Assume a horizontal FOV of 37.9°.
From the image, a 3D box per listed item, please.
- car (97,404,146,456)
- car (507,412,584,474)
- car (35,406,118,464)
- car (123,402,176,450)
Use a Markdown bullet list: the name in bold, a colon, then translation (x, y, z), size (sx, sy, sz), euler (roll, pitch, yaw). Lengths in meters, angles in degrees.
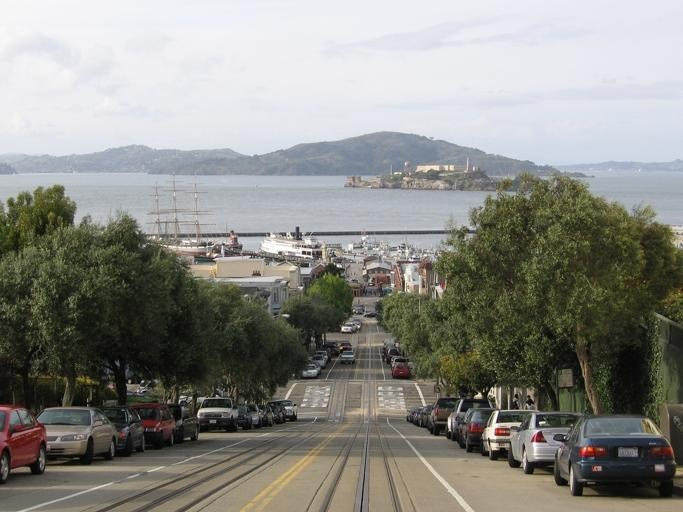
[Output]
- **car**: translation (-8.422, 6.799, 39.220), size (1.168, 1.570, 2.884), euler (-1, -5, 1)
- **car**: translation (7.330, 6.599, 35.249), size (2.328, 2.165, 6.126), euler (2, -9, 0)
- **car**: translation (-9.774, 6.455, 36.472), size (2.266, 2.207, 5.625), euler (0, -9, -1)
- **car**: translation (-8.298, 7.368, 43.576), size (1.426, 1.805, 3.607), euler (1, -6, 1)
